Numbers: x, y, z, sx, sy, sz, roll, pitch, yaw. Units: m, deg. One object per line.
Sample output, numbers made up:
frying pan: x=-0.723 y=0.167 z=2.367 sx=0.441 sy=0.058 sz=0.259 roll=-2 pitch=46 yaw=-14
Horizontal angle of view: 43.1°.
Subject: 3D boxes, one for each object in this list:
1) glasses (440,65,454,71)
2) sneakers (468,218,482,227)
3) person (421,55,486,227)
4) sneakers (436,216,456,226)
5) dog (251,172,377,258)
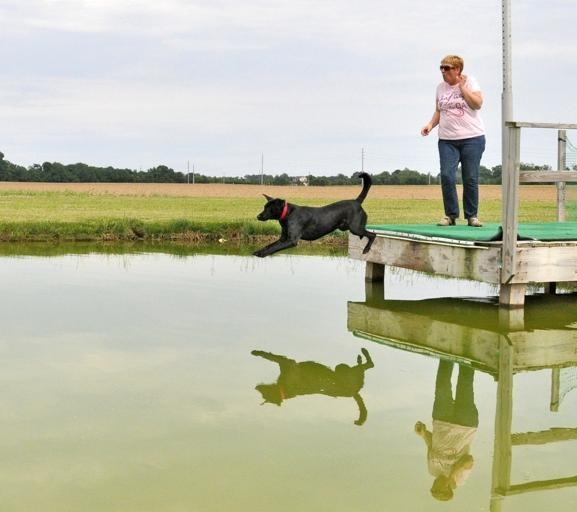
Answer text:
glasses: x=1.913 y=-2.334 z=8.775 sx=0.144 sy=0.054 sz=0.139 roll=-2 pitch=15 yaw=-23
sneakers: x=2.371 y=-0.472 z=9.225 sx=0.074 sy=0.099 sz=0.205 roll=0 pitch=-1 yaw=-16
person: x=2.084 y=-1.455 z=9.015 sx=0.660 sy=2.128 sz=0.960 roll=-4 pitch=6 yaw=-21
sneakers: x=2.033 y=-0.490 z=9.342 sx=0.234 sy=0.104 sz=0.109 roll=0 pitch=1 yaw=-33
dog: x=0.317 y=-0.504 z=8.459 sx=0.787 sy=0.993 sz=1.498 roll=2 pitch=7 yaw=34
